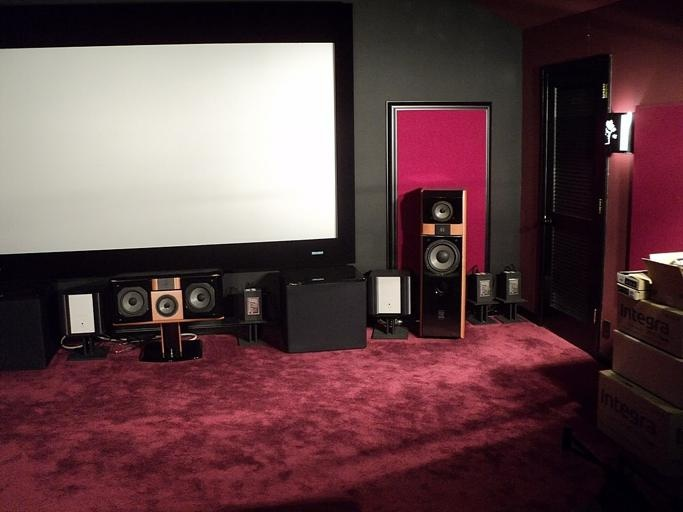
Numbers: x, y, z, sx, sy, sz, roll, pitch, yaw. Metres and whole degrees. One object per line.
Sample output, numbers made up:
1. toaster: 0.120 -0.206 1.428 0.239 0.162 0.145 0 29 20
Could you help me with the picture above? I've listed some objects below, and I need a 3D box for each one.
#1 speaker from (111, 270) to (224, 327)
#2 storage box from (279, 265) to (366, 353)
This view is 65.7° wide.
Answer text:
1. speaker: -1.411 0.352 4.326 0.850 0.393 0.288 -2 -2 -17
2. storage box: -0.137 0.454 4.290 0.640 0.583 0.650 -2 22 -2
